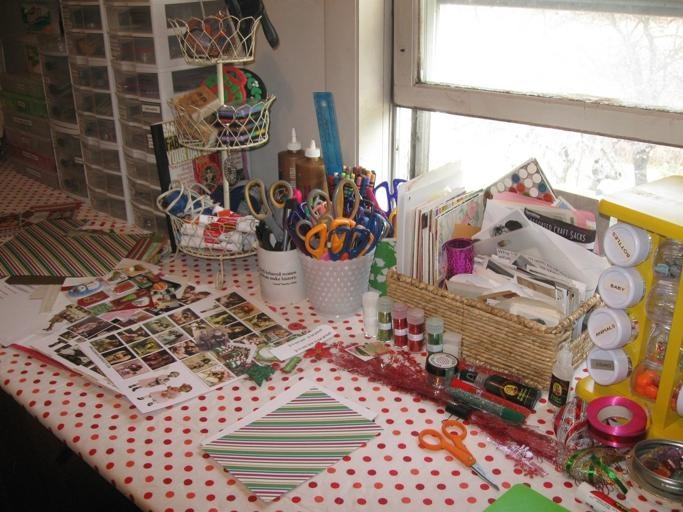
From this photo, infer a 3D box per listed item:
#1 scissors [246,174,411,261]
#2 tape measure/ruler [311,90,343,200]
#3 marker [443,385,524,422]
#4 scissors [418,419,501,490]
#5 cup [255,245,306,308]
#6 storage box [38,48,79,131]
[{"bbox_3d":[-0.084,-0.126,1.269,0.233,0.182,0.404,-22,31,-40],"label":"scissors"},{"bbox_3d":[-0.026,-0.276,1.358,0.072,0.292,0.009,-7,5,0],"label":"tape measure/ruler"},{"bbox_3d":[0.263,0.273,0.960,0.119,0.025,0.024,16,60,27],"label":"marker"},{"bbox_3d":[0.188,0.335,0.877,0.095,0.027,0.145,-6,23,-11],"label":"scissors"},{"bbox_3d":[-0.131,0.029,1.322,0.138,0.144,0.133,0,20,0],"label":"cup"},{"bbox_3d":[-0.967,-0.598,1.874,0.165,0.231,0.169,17,23,36],"label":"storage box"}]
